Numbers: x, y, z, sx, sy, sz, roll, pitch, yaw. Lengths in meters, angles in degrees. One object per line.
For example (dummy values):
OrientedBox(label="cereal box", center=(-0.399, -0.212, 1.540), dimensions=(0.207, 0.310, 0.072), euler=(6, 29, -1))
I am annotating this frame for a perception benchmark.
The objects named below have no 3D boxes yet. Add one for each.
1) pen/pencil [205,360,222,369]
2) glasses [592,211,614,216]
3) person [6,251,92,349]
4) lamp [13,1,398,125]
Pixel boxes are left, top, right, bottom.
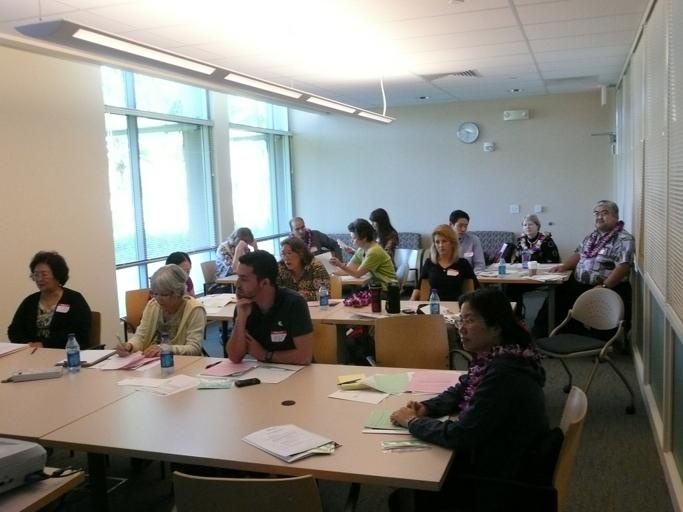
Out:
OrientedBox(label="pen/pencil", center=(-0.839, 0.702, 3.431), dimensions=(0.026, 0.024, 0.176), euler=(5, 15, 22))
OrientedBox(label="glasses", center=(2.940, -0.484, 5.901), dimensions=(0.075, 0.048, 0.185), euler=(-8, 12, -31))
OrientedBox(label="person", center=(-2.491, 0.393, 4.367), dimensions=(0.655, 0.810, 0.424), euler=(-7, 11, -25))
OrientedBox(label="lamp", center=(-0.931, -1.545, 4.533), dimensions=(0.326, 0.260, 3.579), euler=(3, 11, 27))
